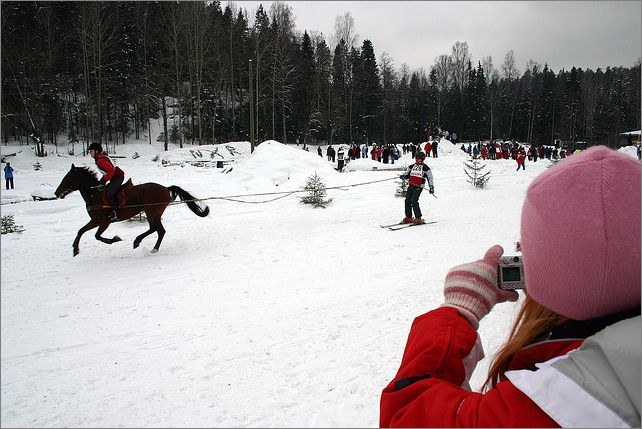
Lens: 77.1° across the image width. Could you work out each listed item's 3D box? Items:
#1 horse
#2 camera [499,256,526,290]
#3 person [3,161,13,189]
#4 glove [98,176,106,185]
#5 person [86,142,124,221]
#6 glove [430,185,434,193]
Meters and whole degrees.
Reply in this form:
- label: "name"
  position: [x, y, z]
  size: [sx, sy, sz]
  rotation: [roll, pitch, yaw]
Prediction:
- label: "horse"
  position: [-4.938, -0.173, 10.337]
  size: [3.095, 2.242, 1.288]
  rotation: [-9, 12, -27]
- label: "camera"
  position: [1.083, 0.329, 2.285]
  size: [0.175, 0.177, 0.119]
  rotation: [-3, -15, 9]
- label: "person"
  position: [-15.374, -1.877, 19.748]
  size: [0.350, 1.234, 1.227]
  rotation: [-11, 14, -36]
- label: "glove"
  position: [-5.445, -0.833, 10.010]
  size: [0.170, 0.173, 0.052]
  rotation: [16, -6, 9]
- label: "person"
  position: [-5.444, -0.850, 10.363]
  size: [0.664, 1.950, 1.177]
  rotation: [-9, 13, -29]
- label: "glove"
  position: [3.235, -0.726, 11.768]
  size: [0.157, 0.231, 0.065]
  rotation: [0, 1, 31]
